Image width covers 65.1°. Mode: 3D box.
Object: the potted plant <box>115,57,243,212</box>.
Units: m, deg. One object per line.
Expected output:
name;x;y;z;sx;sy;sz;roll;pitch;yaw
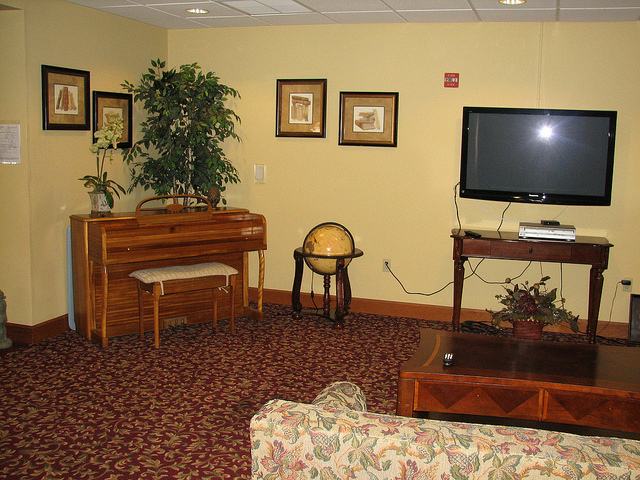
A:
potted plant;-1.588;-1.299;5.965;1.358;1.766;1.232;5;11;19

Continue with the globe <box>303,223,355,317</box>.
globe;0.105;0.349;5.688;0.587;1.053;0.469;0;10;-6

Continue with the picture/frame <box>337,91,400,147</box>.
picture/frame;0.605;-1.428;5.893;0.672;0.634;0.053;2;9;16

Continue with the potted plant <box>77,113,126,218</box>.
potted plant;-2.338;-0.813;5.370;0.454;1.000;0.830;-3;11;-21

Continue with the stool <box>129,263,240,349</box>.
stool;-1.393;0.635;5.267;1.032;0.685;0.675;-4;6;-39

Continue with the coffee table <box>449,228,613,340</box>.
coffee table;2.300;0.450;5.297;1.130;0.828;0.378;3;7;12

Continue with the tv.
tv;2.398;-0.916;5.366;1.076;0.750;0.082;2;9;12

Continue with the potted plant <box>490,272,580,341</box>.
potted plant;2.158;0.692;5.105;0.734;0.423;0.766;5;9;39

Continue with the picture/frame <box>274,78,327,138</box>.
picture/frame;-0.210;-1.614;6.097;0.730;0.766;0.054;2;9;14
